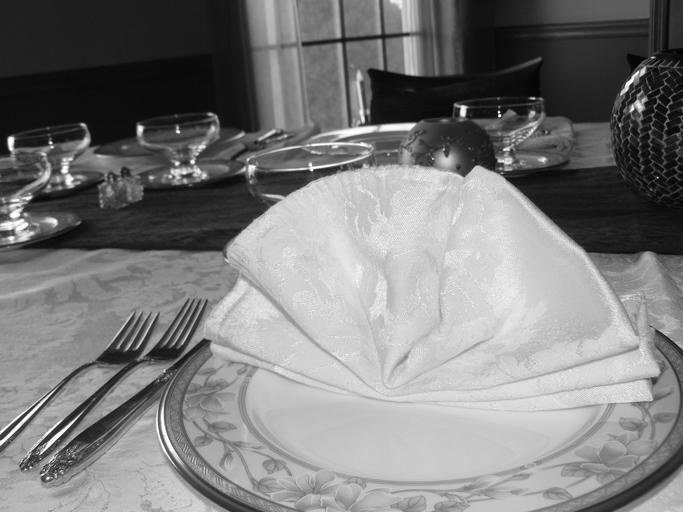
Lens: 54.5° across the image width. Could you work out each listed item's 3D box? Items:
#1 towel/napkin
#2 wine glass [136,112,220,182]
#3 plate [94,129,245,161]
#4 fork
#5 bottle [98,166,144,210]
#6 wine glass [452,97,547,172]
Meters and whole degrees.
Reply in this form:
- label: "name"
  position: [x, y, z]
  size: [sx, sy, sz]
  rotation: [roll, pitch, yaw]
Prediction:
- label: "towel/napkin"
  position: [0.057, 0.029, 0.471]
  size: [0.331, 0.191, 0.109]
  rotation: [3, -14, 30]
- label: "wine glass"
  position: [-0.279, -0.196, 1.226]
  size: [0.170, 0.099, 0.158]
  rotation: [-8, 12, -31]
- label: "plate"
  position: [-0.392, -0.236, 1.453]
  size: [0.206, 0.018, 0.182]
  rotation: [-2, 18, -4]
- label: "fork"
  position: [-0.153, 0.094, 0.598]
  size: [0.043, 0.037, 0.291]
  rotation: [-3, 19, 33]
- label: "bottle"
  position: [-0.348, -0.112, 1.095]
  size: [0.080, 0.066, 0.074]
  rotation: [1, 14, 12]
- label: "wine glass"
  position: [0.250, -0.191, 1.095]
  size: [0.168, 0.112, 0.154]
  rotation: [-2, 8, 1]
